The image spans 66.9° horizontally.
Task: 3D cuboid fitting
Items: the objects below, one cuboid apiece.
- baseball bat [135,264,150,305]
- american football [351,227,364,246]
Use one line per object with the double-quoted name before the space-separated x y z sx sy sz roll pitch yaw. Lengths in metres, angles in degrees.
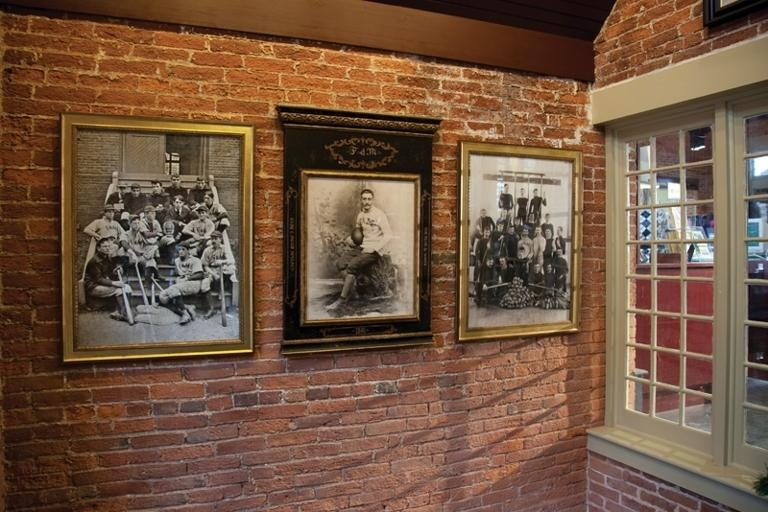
"baseball bat" -1.582 0.191 3.811 0.084 0.240 0.027 -16 7 -10
"american football" -0.190 -0.143 4.125 0.123 0.125 0.118 3 4 24
